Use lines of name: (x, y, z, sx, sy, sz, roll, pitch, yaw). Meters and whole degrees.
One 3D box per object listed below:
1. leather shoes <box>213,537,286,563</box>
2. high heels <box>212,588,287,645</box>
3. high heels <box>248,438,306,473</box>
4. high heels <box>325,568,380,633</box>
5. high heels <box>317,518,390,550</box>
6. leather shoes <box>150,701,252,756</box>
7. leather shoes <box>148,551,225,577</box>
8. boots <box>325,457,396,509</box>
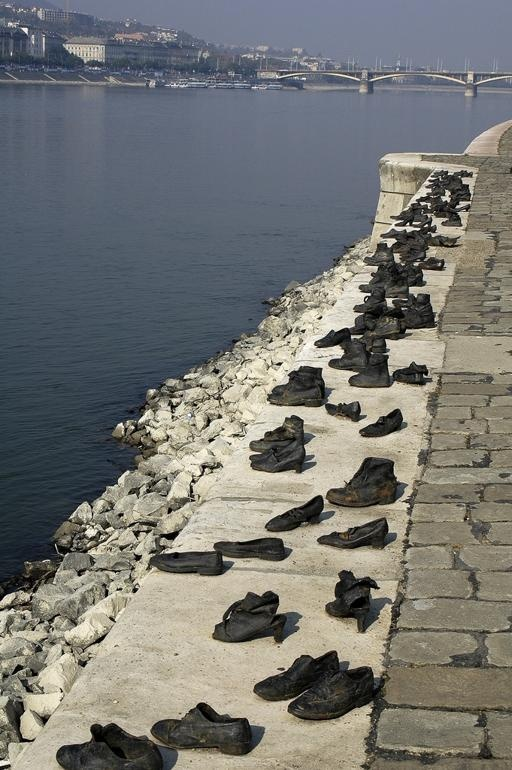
leather shoes: (-0.017, 0.653, 3.920, 0.299, 0.080, 0.104, 3, 18, 6)
high heels: (-0.022, 0.791, 3.281, 0.259, 0.159, 0.134, -3, 10, 9)
high heels: (0.109, 0.358, 4.826, 0.240, 0.121, 0.160, -1, 29, 9)
high heels: (0.338, 0.757, 3.411, 0.138, 0.086, 0.204, -4, 16, 23)
high heels: (0.431, 0.607, 3.983, 0.327, 0.127, 0.112, -1, 14, 20)
leather shoes: (-0.158, 0.971, 2.781, 0.272, 0.104, 0.126, 4, 7, 13)
leather shoes: (-0.273, 0.691, 3.815, 0.276, 0.080, 0.113, 3, 12, 9)
boots: (0.486, 0.442, 4.400, 0.355, 0.211, 0.157, 1, 5, -17)
